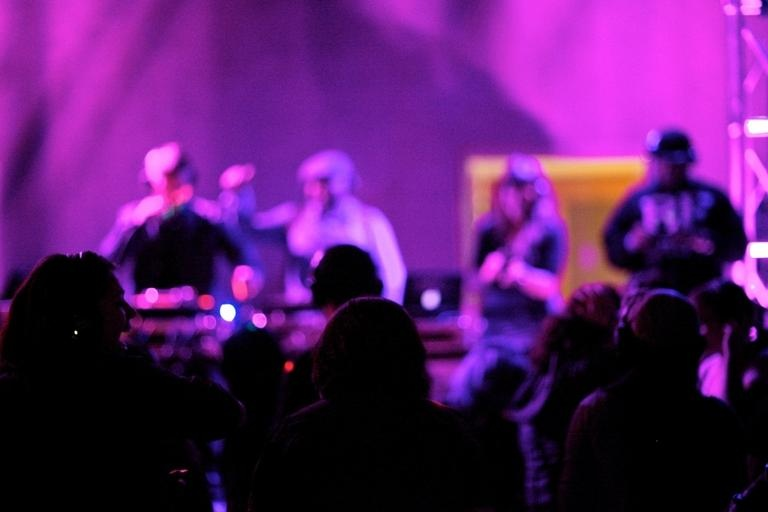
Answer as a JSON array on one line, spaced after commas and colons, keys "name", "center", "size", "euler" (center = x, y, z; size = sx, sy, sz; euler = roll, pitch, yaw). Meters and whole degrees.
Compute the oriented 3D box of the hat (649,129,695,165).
[{"name": "hat", "center": [2.028, -0.775, 6.623], "size": [0.308, 0.122, 0.211], "euler": [8, 0, -38]}]
